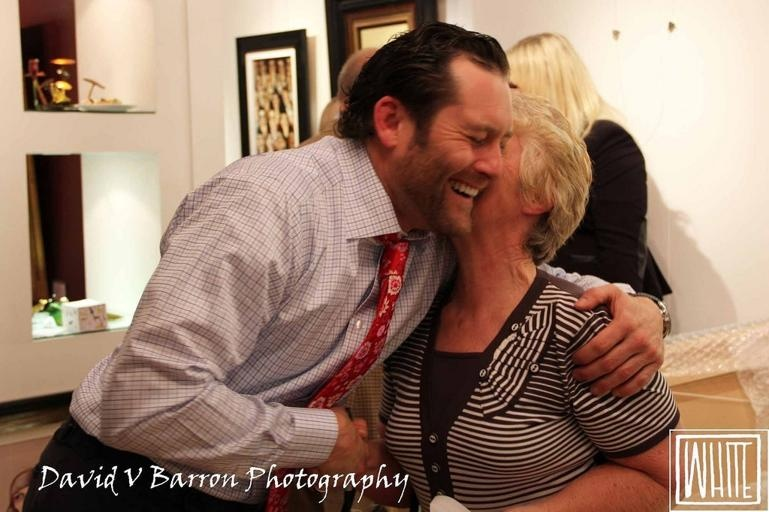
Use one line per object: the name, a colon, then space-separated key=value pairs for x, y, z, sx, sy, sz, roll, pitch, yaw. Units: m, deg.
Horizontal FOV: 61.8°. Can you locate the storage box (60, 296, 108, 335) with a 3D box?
storage box: x=-1.851 y=0.365 z=3.997 sx=0.218 sy=0.157 sz=0.212 roll=-4 pitch=5 yaw=-41

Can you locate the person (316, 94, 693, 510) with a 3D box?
person: x=0.402 y=0.150 z=1.983 sx=0.897 sy=1.313 sz=0.303 roll=-1 pitch=4 yaw=9

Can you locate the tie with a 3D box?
tie: x=-0.151 y=0.338 z=1.996 sx=0.115 sy=0.982 sz=0.125 roll=29 pitch=-8 yaw=-19
